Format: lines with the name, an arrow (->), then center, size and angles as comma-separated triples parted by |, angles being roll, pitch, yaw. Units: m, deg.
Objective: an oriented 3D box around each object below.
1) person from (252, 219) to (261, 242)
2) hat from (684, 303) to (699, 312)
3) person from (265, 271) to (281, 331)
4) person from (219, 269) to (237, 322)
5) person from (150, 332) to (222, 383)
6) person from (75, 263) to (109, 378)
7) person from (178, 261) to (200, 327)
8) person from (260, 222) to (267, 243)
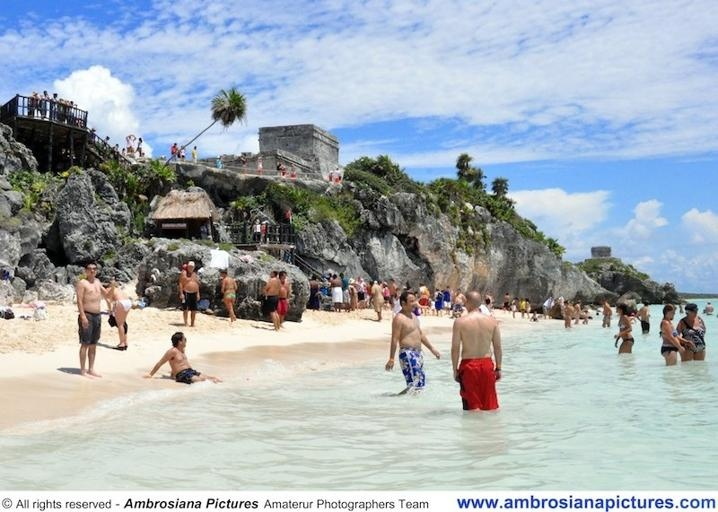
person -> -4.823, -1.116, 28.988 | 0.368, 0.957, 2.201 | 3, 1, -10
hat -> 7.167, 1.109, 13.292 | 0.201, 0.240, 0.255 | 9, 25, 34
person -> -2.777, 1.398, 19.803 | 0.507, 1.758, 0.973 | 3, 1, -12
person -> -4.171, 1.251, 19.548 | 0.616, 1.499, 1.206 | 3, 1, -11
person -> -3.485, 2.150, 12.902 | 1.671, 1.016, 0.884 | 4, -4, 11
person -> -5.430, 1.288, 12.397 | 0.489, 1.965, 0.949 | 3, 1, -22
person -> -4.996, 1.092, 18.009 | 0.529, 1.674, 0.992 | 3, 1, -16
person -> -4.402, -1.080, 28.390 | 0.268, 0.862, 0.726 | 3, 1, -10
